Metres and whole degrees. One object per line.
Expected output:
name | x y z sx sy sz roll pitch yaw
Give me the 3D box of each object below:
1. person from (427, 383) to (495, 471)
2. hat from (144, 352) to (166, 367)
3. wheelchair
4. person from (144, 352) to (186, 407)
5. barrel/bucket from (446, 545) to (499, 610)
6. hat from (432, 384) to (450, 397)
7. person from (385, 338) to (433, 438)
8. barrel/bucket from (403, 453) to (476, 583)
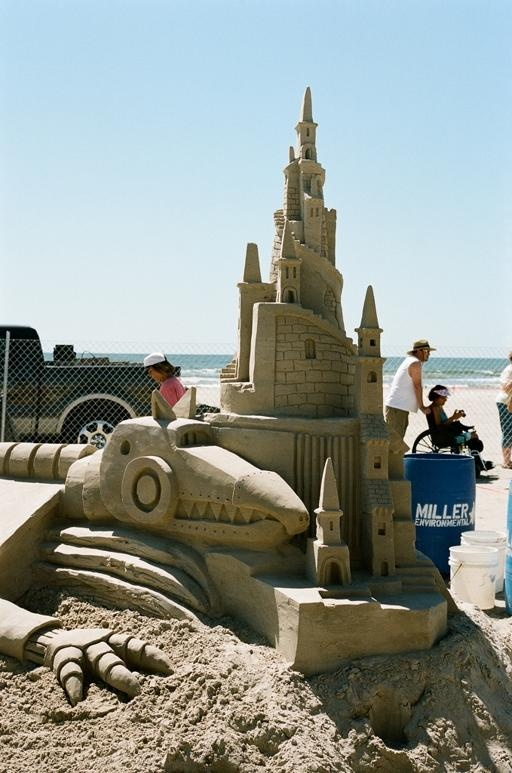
person | 1.883 0.431 6.907 0.683 0.816 0.442 0 8 29
hat | -0.736 -0.190 5.334 0.155 0.109 0.275 1 -2 -3
wheelchair | 1.882 0.540 7.305 0.760 0.785 0.626 -12 -1 2
person | -0.673 -0.058 5.481 0.309 0.437 0.982 1 -2 -6
barrel/bucket | 1.605 1.381 5.482 0.380 0.398 0.390 3 3 0
hat | 1.609 0.040 6.392 0.114 0.033 0.125 23 12 33
person | 1.140 0.022 5.504 0.334 0.785 1.123 1 -2 12
barrel/bucket | 1.476 1.042 5.922 0.541 0.965 0.297 1 -2 10
